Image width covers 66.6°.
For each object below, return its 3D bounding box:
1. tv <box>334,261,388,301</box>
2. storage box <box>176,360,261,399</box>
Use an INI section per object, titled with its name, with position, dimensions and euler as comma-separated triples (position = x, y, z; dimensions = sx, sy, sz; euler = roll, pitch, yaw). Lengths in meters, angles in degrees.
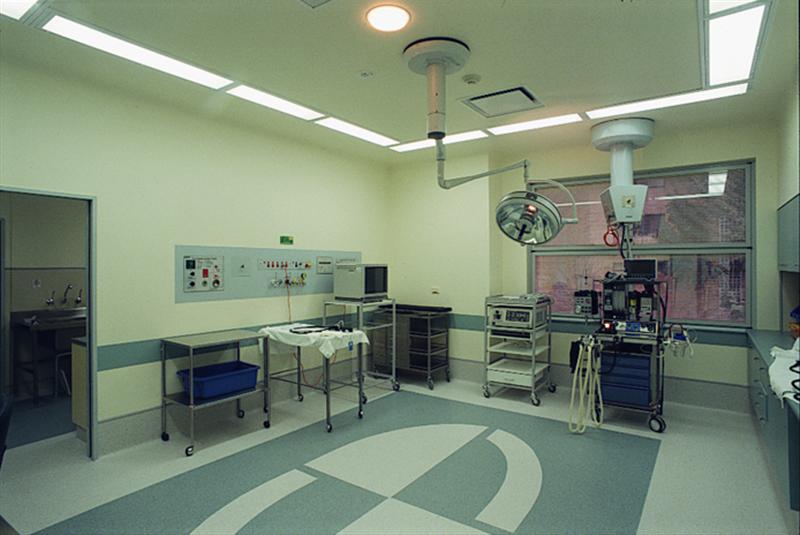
[tv]
position = -0.485, 0.174, 7.507
dimensions = 0.470, 0.416, 0.636
euler = 1, 0, 21
[storage box]
position = -1.748, 1.144, 6.399
dimensions = 0.797, 0.268, 0.628
euler = -19, -14, 16
